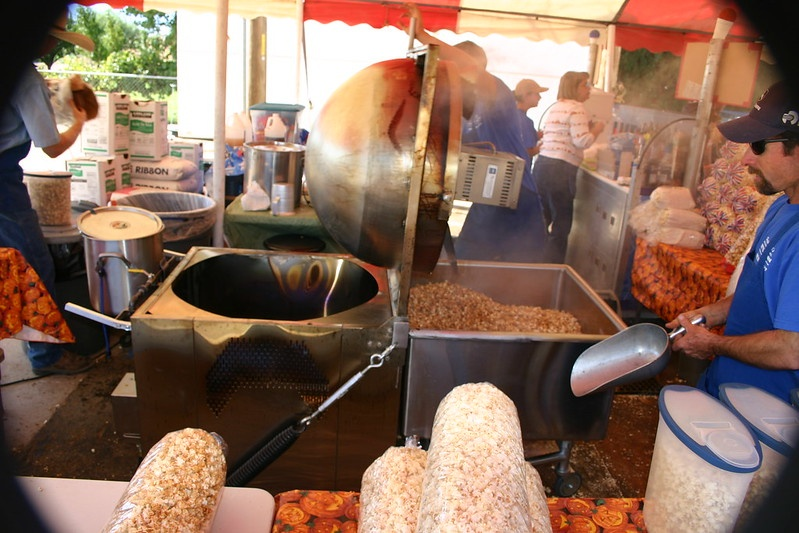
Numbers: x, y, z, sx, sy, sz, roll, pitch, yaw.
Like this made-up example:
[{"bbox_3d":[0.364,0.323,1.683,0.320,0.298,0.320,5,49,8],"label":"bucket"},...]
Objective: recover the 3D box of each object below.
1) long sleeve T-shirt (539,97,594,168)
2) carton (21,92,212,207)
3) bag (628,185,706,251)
[{"bbox_3d":[1.372,-1.170,4.929,0.483,0.533,0.518,-18,29,-27],"label":"long sleeve T-shirt"},{"bbox_3d":[-1.992,-0.839,4.065,1.114,1.033,0.804,5,27,-18],"label":"carton"},{"bbox_3d":[2.071,-0.359,4.246,0.172,0.395,0.512,-4,5,-41],"label":"bag"}]
